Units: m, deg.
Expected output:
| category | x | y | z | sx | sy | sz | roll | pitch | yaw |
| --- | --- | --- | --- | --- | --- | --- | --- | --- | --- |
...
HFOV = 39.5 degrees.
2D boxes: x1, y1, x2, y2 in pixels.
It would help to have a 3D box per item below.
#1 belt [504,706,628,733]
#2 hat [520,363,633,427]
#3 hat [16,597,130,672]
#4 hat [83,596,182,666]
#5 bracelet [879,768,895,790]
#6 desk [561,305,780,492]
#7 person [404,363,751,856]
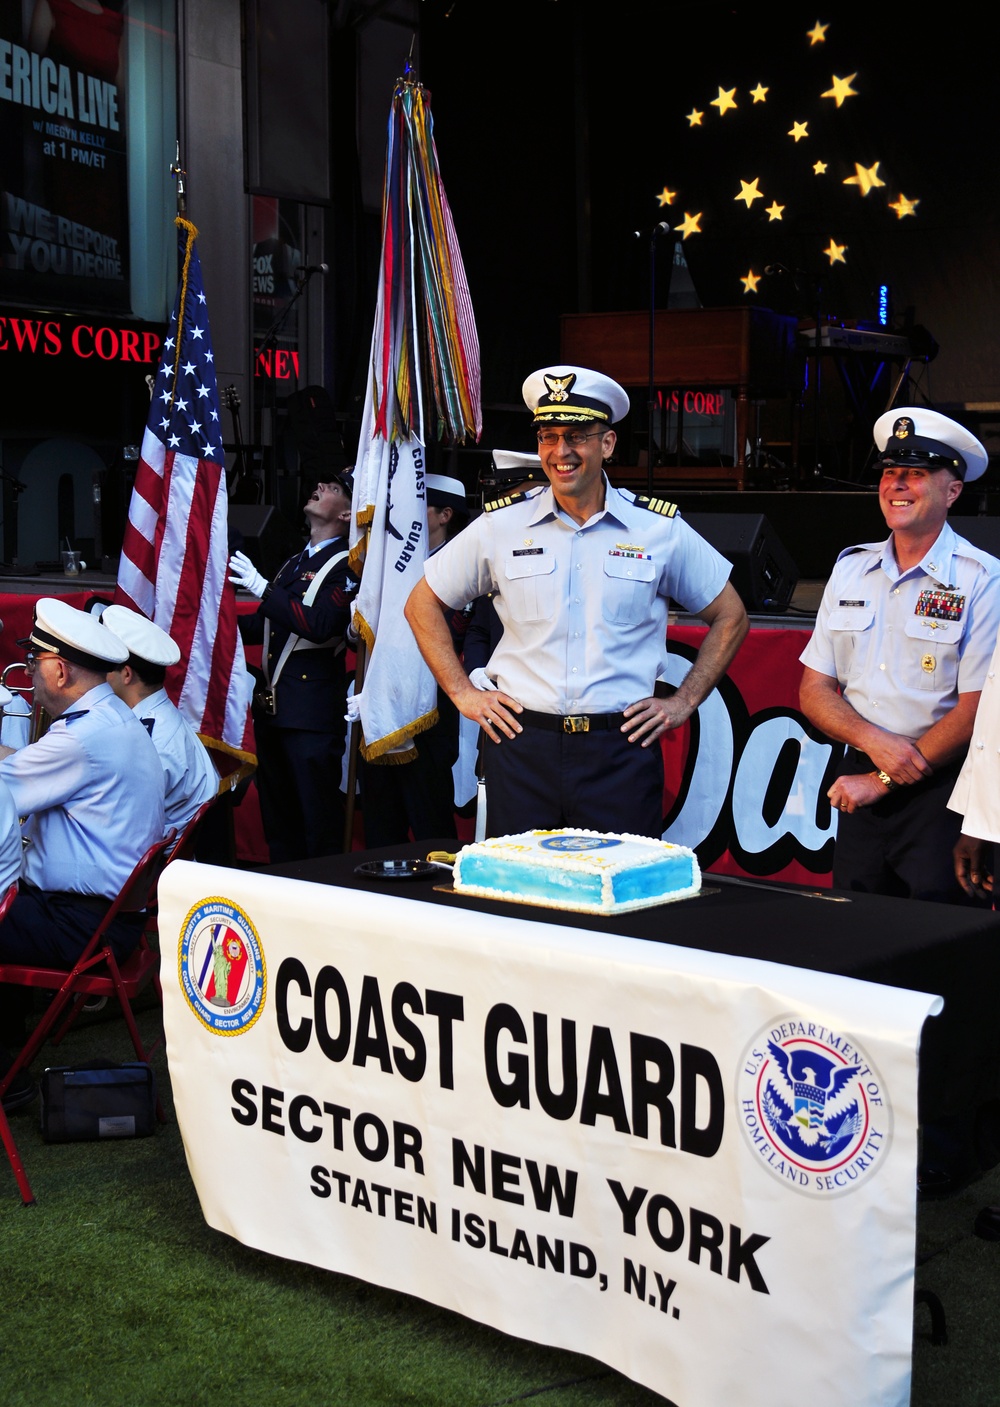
| category | x | y | z | sx | sy | sz | roll | pitch | yaw |
| --- | --- | --- | --- | --- | --- | --- | --- | --- | --- |
| belt | 0.160 | 0.046 | 3.215 | 0.241 | 0.049 | 0.062 | 0 | 3 | 19 |
| hat | 0.172 | -0.742 | 3.354 | 0.236 | 0.193 | 0.363 | 0 | 3 | 10 |
| hat | -1.128 | -0.181 | 3.691 | 0.217 | 0.098 | 0.186 | 25 | 13 | 5 |
| hat | -1.138 | -0.203 | 4.325 | 0.223 | 0.079 | 0.192 | 38 | 17 | 12 |
| bracelet | 0.869 | 0.172 | 3.138 | 0.056 | 0.017 | 0.013 | 31 | 13 | -30 |
| desk | 1.245 | -2.220 | 9.783 | 1.611 | 1.790 | 1.308 | 3 | 15 | 17 |
| person | 0.154 | -0.252 | 3.318 | 0.826 | 1.147 | 0.571 | 0 | 3 | 10 |
